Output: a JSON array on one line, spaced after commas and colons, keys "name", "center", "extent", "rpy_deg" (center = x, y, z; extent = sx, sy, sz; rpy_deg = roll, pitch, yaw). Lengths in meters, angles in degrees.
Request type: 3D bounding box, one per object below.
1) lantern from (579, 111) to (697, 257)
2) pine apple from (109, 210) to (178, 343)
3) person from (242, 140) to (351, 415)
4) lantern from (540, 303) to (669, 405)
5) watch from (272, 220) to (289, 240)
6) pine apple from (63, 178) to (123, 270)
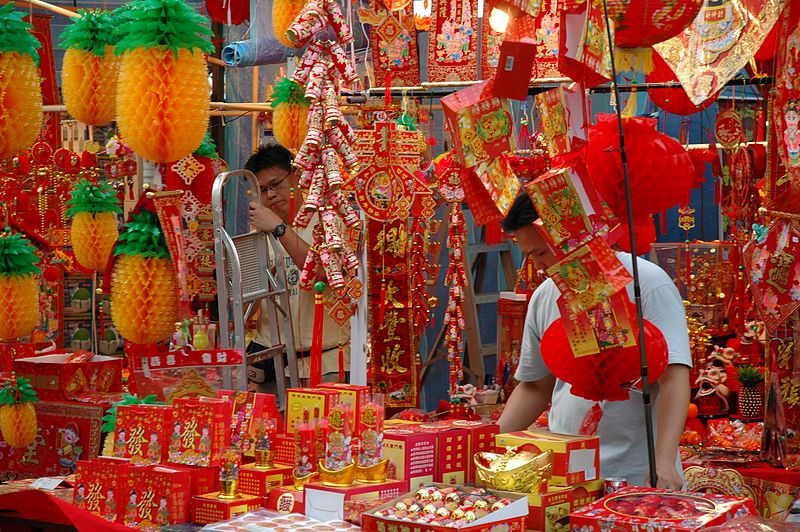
[{"name": "lantern", "center": [0.810, -0.304, 3.301], "extent": [0.481, 0.432, 0.470], "rpy_deg": [-1, 0, 8]}, {"name": "pine apple", "center": [-1.068, 0.071, 3.747], "extent": [0.284, 0.524, 0.290], "rpy_deg": [16, 15, 43]}, {"name": "person", "center": [-0.527, 0.028, 4.581], "extent": [0.578, 1.240, 0.514], "rpy_deg": [-1, 34, 1]}, {"name": "lantern", "center": [0.682, 0.337, 3.023], "extent": [0.407, 0.316, 0.286], "rpy_deg": [3, 26, 5]}, {"name": "watch", "center": [-0.560, -0.166, 4.189], "extent": [0.081, 0.052, 0.077], "rpy_deg": [-54, 16, -26]}, {"name": "pine apple", "center": [-1.386, -0.183, 4.125], "extent": [0.258, 0.405, 0.274], "rpy_deg": [1, 10, 32]}]
